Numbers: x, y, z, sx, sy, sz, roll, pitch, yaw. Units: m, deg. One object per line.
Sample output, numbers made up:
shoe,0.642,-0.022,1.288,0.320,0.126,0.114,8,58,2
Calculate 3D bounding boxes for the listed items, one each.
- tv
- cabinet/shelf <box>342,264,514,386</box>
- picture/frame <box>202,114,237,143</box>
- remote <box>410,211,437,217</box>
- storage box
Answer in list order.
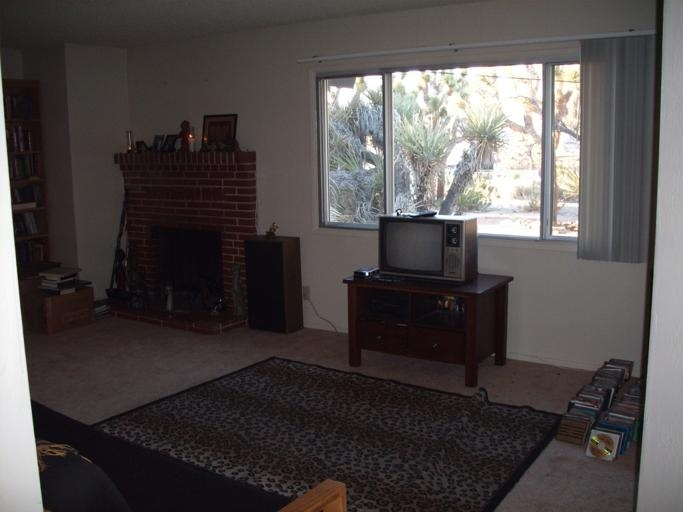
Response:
tv,0.721,-0.082,4.293,0.743,0.520,0.421,5,10,30
cabinet/shelf,0.705,0.551,4.325,1.180,0.789,0.684,2,9,34
picture/frame,-1.278,-1.351,5.473,0.324,0.243,0.033,4,3,28
remote,0.674,-0.339,4.193,0.206,0.067,0.083,2,7,11
storage box,-3.002,0.554,5.469,0.657,0.391,0.680,0,9,4
